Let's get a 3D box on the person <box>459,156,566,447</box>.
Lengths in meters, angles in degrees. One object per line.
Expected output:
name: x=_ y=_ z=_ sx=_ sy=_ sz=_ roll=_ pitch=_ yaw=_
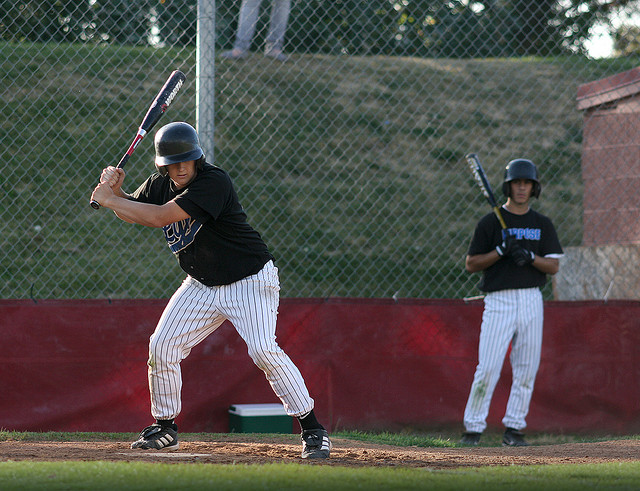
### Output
person: x=1.642 y=0.492 z=10.943 sx=0.798 sy=2.456 sz=0.574 roll=2 pitch=7 yaw=8

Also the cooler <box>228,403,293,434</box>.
cooler: x=-0.528 y=1.502 z=10.980 sx=0.562 sy=0.258 sz=0.216 roll=1 pitch=6 yaw=0
